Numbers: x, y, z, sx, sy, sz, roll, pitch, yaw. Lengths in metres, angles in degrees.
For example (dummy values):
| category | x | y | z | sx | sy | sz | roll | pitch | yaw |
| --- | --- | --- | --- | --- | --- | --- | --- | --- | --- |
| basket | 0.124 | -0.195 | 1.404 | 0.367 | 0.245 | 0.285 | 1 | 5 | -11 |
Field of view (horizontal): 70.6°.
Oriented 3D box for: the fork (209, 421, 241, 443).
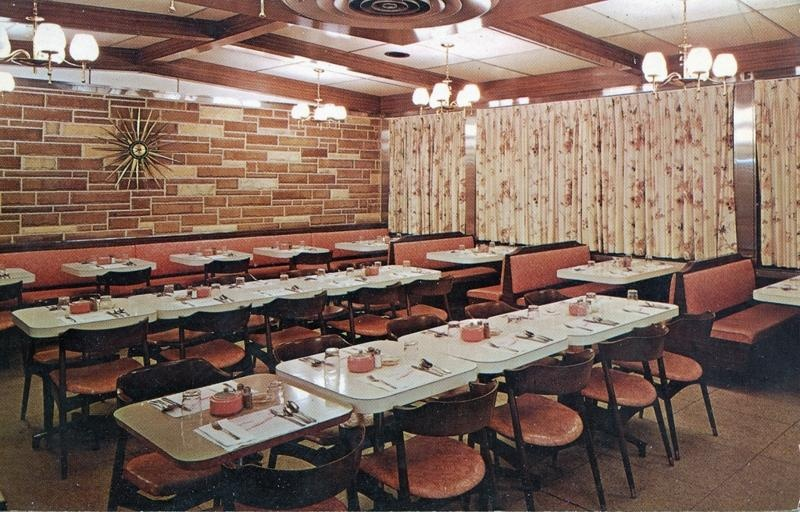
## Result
| category | x | y | z | sx | sy | sz | roll | pitch | yaw |
| --- | --- | --- | --- | --- | --- | --- | --- | --- | --- |
| fork | -1.106 | 1.106 | 3.589 | 0.076 | 0.038 | 0.308 | -12 | 16 | -40 |

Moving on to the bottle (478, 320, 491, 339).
| category | x | y | z | sx | sy | sz | roll | pitch | yaw |
| --- | --- | --- | --- | --- | --- | --- | --- | --- | --- |
| bottle | 0.718 | 0.631 | 4.807 | 0.136 | 0.157 | 0.125 | -4 | 3 | 0 |

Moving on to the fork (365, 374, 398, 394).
| category | x | y | z | sx | sy | sz | roll | pitch | yaw |
| --- | --- | --- | --- | --- | --- | --- | --- | --- | --- |
| fork | -0.128 | 0.907 | 4.011 | 0.076 | 0.031 | 0.260 | -4 | 5 | -34 |

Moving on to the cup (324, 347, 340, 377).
| category | x | y | z | sx | sy | sz | roll | pitch | yaw |
| --- | --- | --- | --- | --- | --- | --- | --- | --- | --- |
| cup | -0.501 | 0.781 | 4.196 | 0.124 | 0.163 | 0.205 | -4 | 13 | -9 |

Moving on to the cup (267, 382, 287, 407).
| category | x | y | z | sx | sy | sz | roll | pitch | yaw |
| --- | --- | --- | --- | --- | --- | --- | --- | --- | --- |
| cup | -0.837 | 0.954 | 3.881 | 0.162 | 0.130 | 0.134 | 0 | -2 | -6 |

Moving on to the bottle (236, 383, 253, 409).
| category | x | y | z | sx | sy | sz | roll | pitch | yaw |
| --- | --- | --- | --- | --- | --- | --- | --- | --- | --- |
| bottle | -1.050 | 0.952 | 3.817 | 0.168 | 0.130 | 0.063 | 3 | 8 | 43 |

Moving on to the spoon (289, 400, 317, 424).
| category | x | y | z | sx | sy | sz | roll | pitch | yaw |
| --- | --- | --- | --- | --- | --- | --- | --- | --- | --- |
| spoon | -0.645 | 1.036 | 3.726 | 0.083 | 0.040 | 0.288 | -11 | 22 | -38 |

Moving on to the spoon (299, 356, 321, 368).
| category | x | y | z | sx | sy | sz | roll | pitch | yaw |
| --- | --- | --- | --- | --- | --- | --- | --- | --- | --- |
| spoon | -0.670 | 0.809 | 4.329 | 0.075 | 0.025 | 0.114 | 0 | 8 | -33 |

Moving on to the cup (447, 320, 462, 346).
| category | x | y | z | sx | sy | sz | roll | pitch | yaw |
| --- | --- | --- | --- | --- | --- | --- | --- | --- | --- |
| cup | 0.465 | 0.629 | 4.744 | 0.124 | 0.127 | 0.286 | -1 | 12 | 5 |

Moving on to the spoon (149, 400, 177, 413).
| category | x | y | z | sx | sy | sz | roll | pitch | yaw |
| --- | --- | --- | --- | --- | --- | --- | --- | --- | --- |
| spoon | -1.595 | 1.006 | 3.834 | 0.086 | 0.027 | 0.162 | -3 | 8 | -43 |

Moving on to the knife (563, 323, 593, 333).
| category | x | y | z | sx | sy | sz | roll | pitch | yaw |
| --- | --- | --- | --- | --- | --- | --- | --- | --- | --- |
| knife | 1.555 | 0.621 | 4.913 | 0.227 | 0.010 | 0.134 | 3 | 12 | 22 |

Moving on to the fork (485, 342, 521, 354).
| category | x | y | z | sx | sy | sz | roll | pitch | yaw |
| --- | --- | --- | --- | --- | --- | --- | --- | --- | --- |
| fork | 0.821 | 0.723 | 4.537 | 0.071 | 0.046 | 0.372 | -9 | 7 | -30 |

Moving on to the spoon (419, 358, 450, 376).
| category | x | y | z | sx | sy | sz | roll | pitch | yaw |
| --- | --- | --- | --- | --- | --- | --- | --- | --- | --- |
| spoon | 0.243 | 0.813 | 4.172 | 0.084 | 0.032 | 0.262 | -15 | 17 | -31 |

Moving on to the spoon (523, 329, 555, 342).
| category | x | y | z | sx | sy | sz | roll | pitch | yaw |
| --- | --- | --- | --- | --- | --- | --- | --- | --- | --- |
| spoon | 1.160 | 0.655 | 4.677 | 0.081 | 0.037 | 0.308 | -1 | 5 | -25 |

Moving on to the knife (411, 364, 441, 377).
| category | x | y | z | sx | sy | sz | roll | pitch | yaw |
| --- | --- | --- | --- | --- | --- | --- | --- | --- | --- |
| knife | 0.207 | 0.842 | 4.163 | 0.065 | 0.021 | 0.221 | -19 | 14 | -39 |

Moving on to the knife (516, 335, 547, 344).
| category | x | y | z | sx | sy | sz | roll | pitch | yaw |
| --- | --- | --- | --- | --- | --- | --- | --- | --- | --- |
| knife | 1.098 | 0.673 | 4.715 | 0.076 | 0.043 | 0.339 | -4 | 1 | -22 |

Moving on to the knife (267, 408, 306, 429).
| category | x | y | z | sx | sy | sz | roll | pitch | yaw |
| --- | --- | --- | --- | --- | --- | --- | --- | --- | --- |
| knife | -0.731 | 1.060 | 3.702 | 0.289 | 0.035 | 0.088 | 5 | 32 | 31 |

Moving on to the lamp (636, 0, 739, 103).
| category | x | y | z | sx | sy | sz | roll | pitch | yaw |
| --- | --- | --- | --- | --- | --- | --- | --- | --- | --- |
| lamp | 3.216 | -2.297 | 6.408 | 1.132 | 0.986 | 2.869 | 5 | 13 | 28 |

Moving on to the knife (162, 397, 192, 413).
| category | x | y | z | sx | sy | sz | roll | pitch | yaw |
| --- | --- | --- | --- | --- | --- | --- | --- | --- | --- |
| knife | -1.523 | 1.013 | 3.803 | 0.240 | 0.036 | 0.112 | 5 | 13 | 29 |
